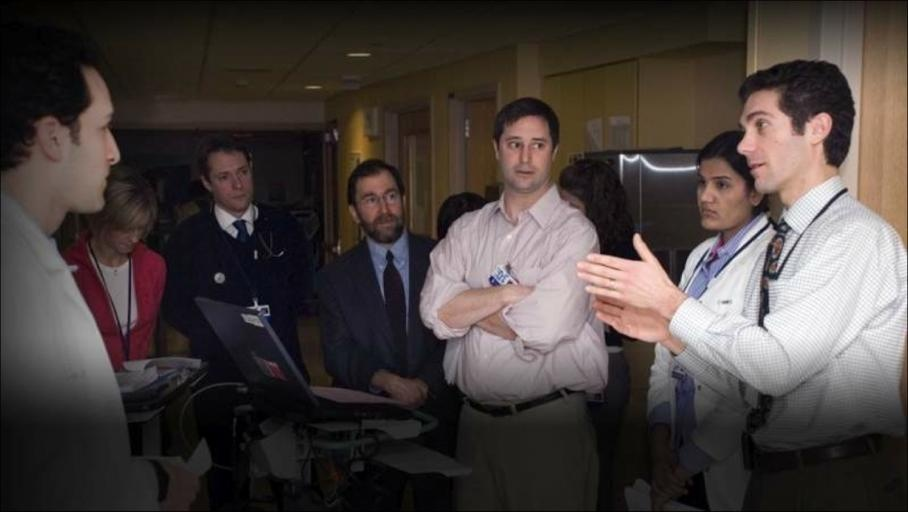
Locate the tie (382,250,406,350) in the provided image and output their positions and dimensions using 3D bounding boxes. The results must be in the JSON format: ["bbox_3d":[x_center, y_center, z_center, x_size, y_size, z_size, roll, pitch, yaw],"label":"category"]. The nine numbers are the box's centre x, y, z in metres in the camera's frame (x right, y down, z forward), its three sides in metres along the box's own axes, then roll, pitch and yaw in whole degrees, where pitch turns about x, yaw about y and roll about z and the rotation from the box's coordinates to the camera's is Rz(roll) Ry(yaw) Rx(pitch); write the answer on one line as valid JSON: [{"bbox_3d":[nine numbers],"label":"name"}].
[{"bbox_3d":[-0.270,0.235,2.908,0.129,0.500,0.056,-2,-2,-45],"label":"tie"}]

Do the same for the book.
[{"bbox_3d":[-1.218,0.519,2.658,0.202,0.076,0.253,1,11,-1],"label":"book"}]

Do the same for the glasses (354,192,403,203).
[{"bbox_3d":[-0.340,-0.253,2.814,0.227,0.060,0.070,-3,7,-9],"label":"glasses"}]

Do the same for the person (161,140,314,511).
[{"bbox_3d":[-1.036,0.024,3.048,0.672,1.148,0.160,-7,9,-23],"label":"person"}]

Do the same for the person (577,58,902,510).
[{"bbox_3d":[1.085,0.171,2.141,1.025,1.597,0.334,-3,8,4],"label":"person"}]

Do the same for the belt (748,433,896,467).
[{"bbox_3d":[1.213,0.667,2.170,0.342,0.072,0.183,-7,-1,6],"label":"belt"}]
